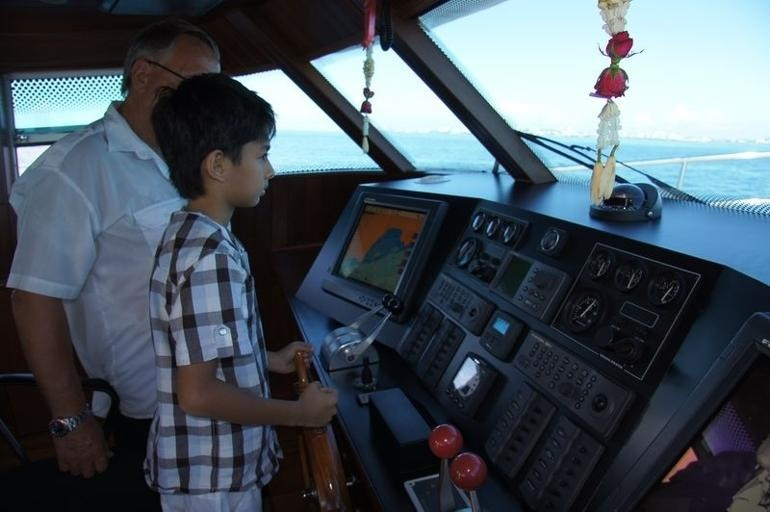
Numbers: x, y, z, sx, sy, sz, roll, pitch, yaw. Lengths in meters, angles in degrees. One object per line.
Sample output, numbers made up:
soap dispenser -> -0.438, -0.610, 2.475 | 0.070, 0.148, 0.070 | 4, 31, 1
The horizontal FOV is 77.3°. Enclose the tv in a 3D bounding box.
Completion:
tv -> 0.010, -0.020, 2.483 | 0.154, 0.583, 0.638 | 34, -15, -37
